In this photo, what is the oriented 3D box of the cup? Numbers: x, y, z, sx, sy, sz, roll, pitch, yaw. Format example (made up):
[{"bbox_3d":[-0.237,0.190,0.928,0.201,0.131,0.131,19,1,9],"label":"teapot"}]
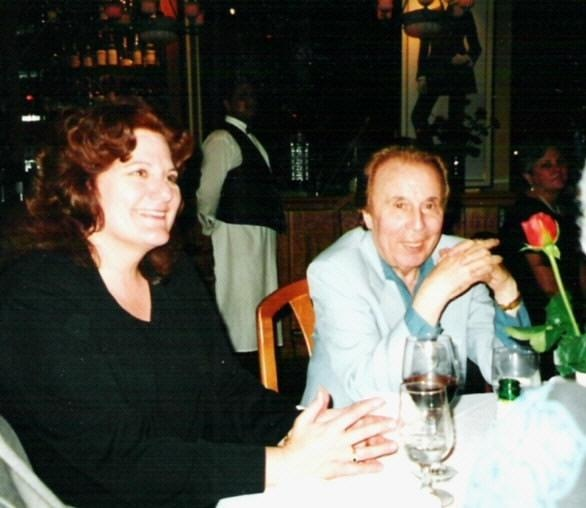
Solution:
[{"bbox_3d":[0.476,0.278,1.504,0.129,0.122,0.122,0,-9,0],"label":"cup"}]
